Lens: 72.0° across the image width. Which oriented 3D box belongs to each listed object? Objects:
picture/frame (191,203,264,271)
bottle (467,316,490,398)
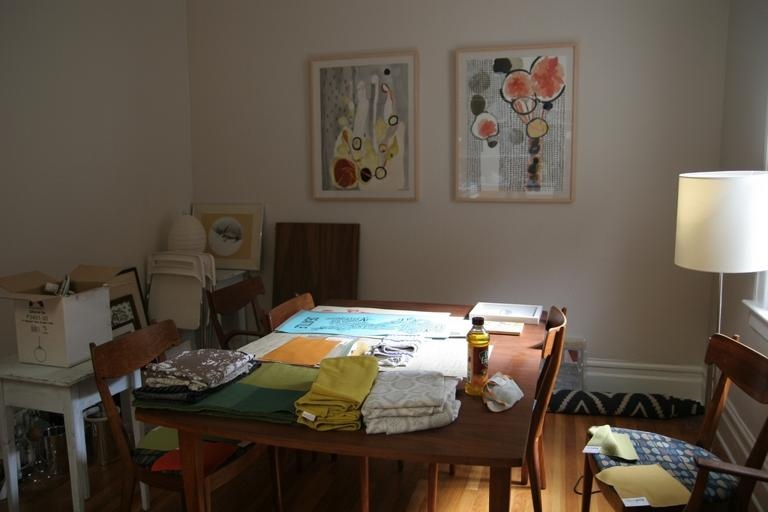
[{"bbox_3d":[-1.323,-0.148,4.561,0.517,0.534,0.025,5,0,2],"label":"picture/frame"},{"bbox_3d":[0.420,0.457,2.387,0.104,0.306,0.196,-1,9,10],"label":"bottle"}]
